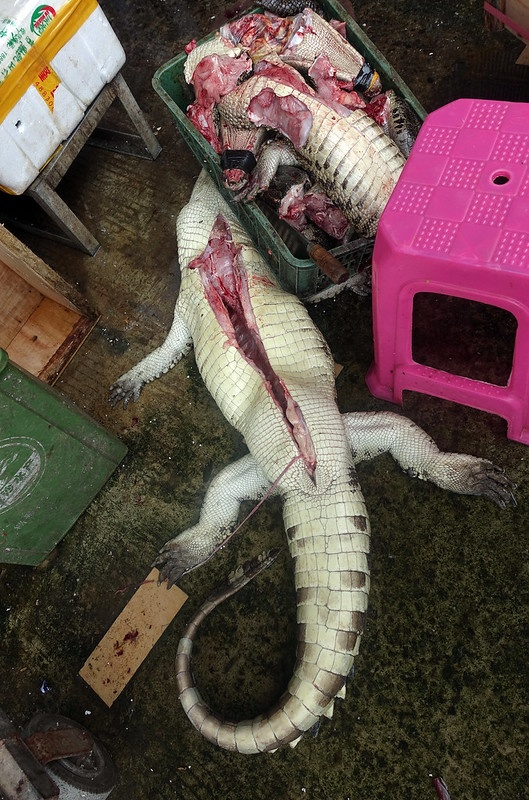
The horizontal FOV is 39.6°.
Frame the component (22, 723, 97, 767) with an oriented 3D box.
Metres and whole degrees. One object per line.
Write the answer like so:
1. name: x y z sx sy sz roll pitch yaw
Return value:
1. component: -0.858 1.459 3.127 0.182 0.350 0.089 35 98 31
